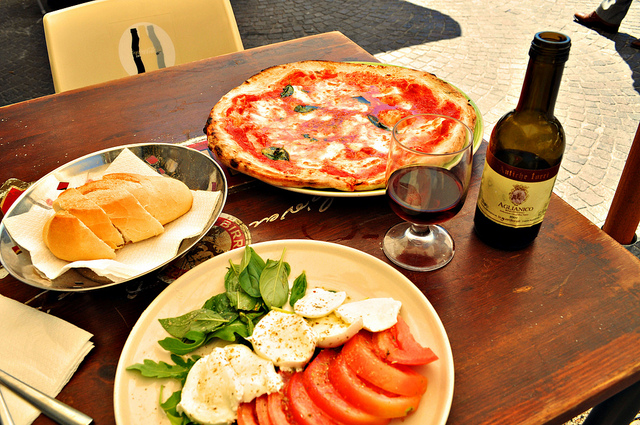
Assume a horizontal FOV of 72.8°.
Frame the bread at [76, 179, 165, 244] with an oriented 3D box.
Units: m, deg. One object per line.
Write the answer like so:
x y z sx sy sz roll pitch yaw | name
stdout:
-0.597 -0.024 1.301 0.223 0.070 0.182 46 43 17 | bread

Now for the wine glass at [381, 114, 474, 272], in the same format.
0.307 -0.037 1.242 0.277 0.416 0.256 23 48 23 | wine glass

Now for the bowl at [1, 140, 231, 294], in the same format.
-0.593 0.086 1.470 0.561 0.091 0.518 -7 44 7 | bowl

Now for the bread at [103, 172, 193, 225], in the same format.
-0.524 -0.064 1.337 0.249 0.066 0.152 17 40 5 | bread

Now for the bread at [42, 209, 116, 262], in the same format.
-0.702 0.089 1.245 0.157 0.063 0.146 39 27 -3 | bread

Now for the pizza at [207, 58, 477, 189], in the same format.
0.034 -0.377 1.712 0.734 0.120 0.696 -8 42 -9 | pizza
